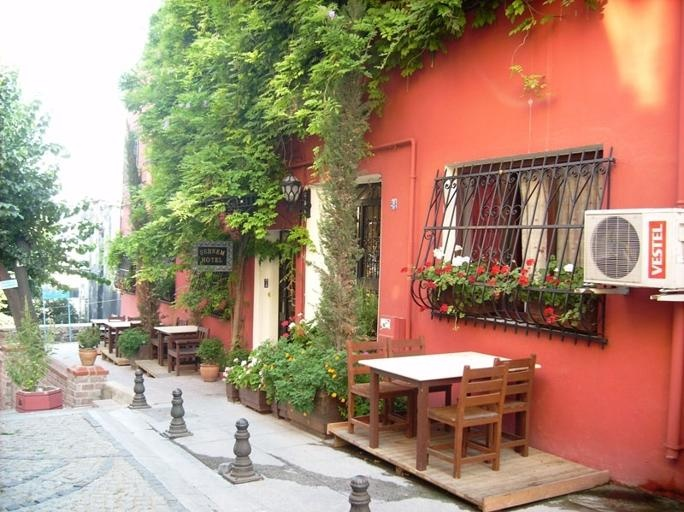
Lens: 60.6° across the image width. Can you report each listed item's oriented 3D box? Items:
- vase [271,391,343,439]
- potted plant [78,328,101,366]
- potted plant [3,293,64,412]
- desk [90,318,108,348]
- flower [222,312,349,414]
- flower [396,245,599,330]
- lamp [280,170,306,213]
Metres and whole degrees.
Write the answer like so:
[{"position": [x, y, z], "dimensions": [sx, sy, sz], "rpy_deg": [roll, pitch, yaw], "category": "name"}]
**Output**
[{"position": [-0.472, 2.373, 8.948], "dimensions": [0.990, 0.679, 0.368], "rpy_deg": [-3, -6, 37], "category": "vase"}, {"position": [-7.565, 2.660, 17.503], "dimensions": [0.608, 1.123, 0.668], "rpy_deg": [-3, -3, 38], "category": "potted plant"}, {"position": [-6.651, 2.188, 12.697], "dimensions": [0.945, 2.229, 1.826], "rpy_deg": [5, -6, -44], "category": "potted plant"}, {"position": [-7.890, 2.528, 19.033], "dimensions": [0.679, 0.776, 0.789], "rpy_deg": [5, -6, -43], "category": "desk"}, {"position": [-0.630, 1.823, 9.285], "dimensions": [1.319, 0.746, 2.004], "rpy_deg": [0, -1, -27], "category": "flower"}, {"position": [2.146, 0.510, 7.959], "dimensions": [0.594, 1.027, 2.594], "rpy_deg": [5, -7, -40], "category": "flower"}, {"position": [-0.957, -1.265, 11.956], "dimensions": [0.565, 0.760, 0.405], "rpy_deg": [5, -6, -35], "category": "lamp"}]
